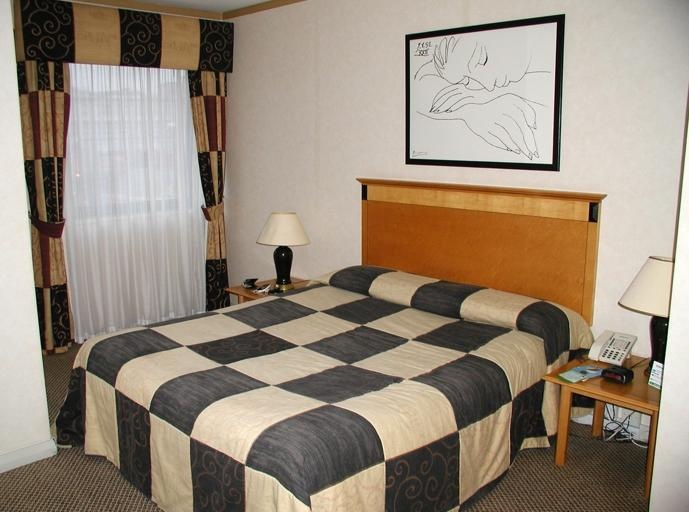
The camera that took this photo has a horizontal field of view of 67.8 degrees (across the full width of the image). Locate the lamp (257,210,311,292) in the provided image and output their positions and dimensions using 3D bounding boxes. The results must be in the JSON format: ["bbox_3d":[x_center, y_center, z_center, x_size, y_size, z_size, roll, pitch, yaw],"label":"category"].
[{"bbox_3d":[-0.581,-0.043,4.885,0.467,0.710,0.510,-1,3,-10],"label":"lamp"}]

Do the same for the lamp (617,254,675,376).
[{"bbox_3d":[1.890,0.377,3.230,0.276,0.755,0.398,9,14,33],"label":"lamp"}]

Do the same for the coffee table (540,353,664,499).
[{"bbox_3d":[1.753,0.970,3.368,0.725,0.653,0.726,-8,11,-44],"label":"coffee table"}]

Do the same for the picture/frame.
[{"bbox_3d":[1.162,-1.300,4.026,1.249,1.112,0.045,6,11,38],"label":"picture/frame"}]

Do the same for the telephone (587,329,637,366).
[{"bbox_3d":[1.827,0.592,3.478,0.251,0.302,0.105,7,16,25],"label":"telephone"}]
